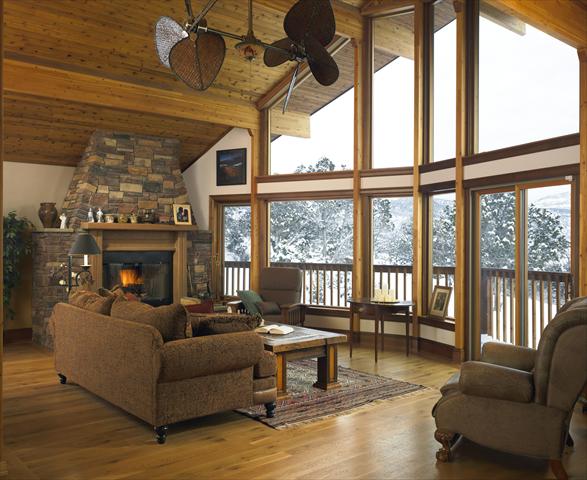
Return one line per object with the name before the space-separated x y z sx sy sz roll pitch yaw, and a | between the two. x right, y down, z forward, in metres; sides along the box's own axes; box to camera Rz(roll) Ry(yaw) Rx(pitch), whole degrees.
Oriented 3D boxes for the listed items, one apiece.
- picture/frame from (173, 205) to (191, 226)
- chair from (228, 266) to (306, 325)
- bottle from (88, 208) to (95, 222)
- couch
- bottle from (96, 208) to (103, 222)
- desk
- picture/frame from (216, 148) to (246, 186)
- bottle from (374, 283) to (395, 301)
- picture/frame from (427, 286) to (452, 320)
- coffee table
picture/frame | -1.827 -0.394 7.867 0.373 0.408 0.019 2 -12 -43
chair | -0.231 0.783 6.807 0.851 1.051 0.897 -2 -7 20
bottle | -2.958 -0.369 7.078 0.085 0.191 0.127 0 1 -10
couch | -0.939 0.601 4.173 1.107 0.924 1.990 -1 1 -40
bottle | -2.848 -0.368 7.136 0.094 0.203 0.199 0 1 -21
desk | 1.223 1.146 6.391 0.808 0.658 0.920 2 -2 -31
picture/frame | -1.061 -1.287 8.451 0.716 0.682 0.048 1 0 33
bottle | 1.193 0.681 6.246 0.225 0.155 0.228 0 -2 0
picture/frame | 1.953 0.853 6.423 0.038 0.515 0.459 17 -2 -23
coffee table | 0.076 1.126 4.765 0.748 0.435 0.926 -3 4 -35
